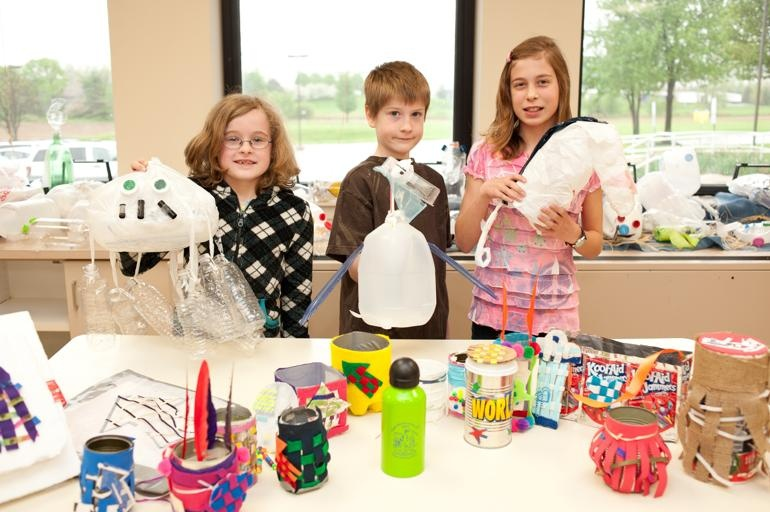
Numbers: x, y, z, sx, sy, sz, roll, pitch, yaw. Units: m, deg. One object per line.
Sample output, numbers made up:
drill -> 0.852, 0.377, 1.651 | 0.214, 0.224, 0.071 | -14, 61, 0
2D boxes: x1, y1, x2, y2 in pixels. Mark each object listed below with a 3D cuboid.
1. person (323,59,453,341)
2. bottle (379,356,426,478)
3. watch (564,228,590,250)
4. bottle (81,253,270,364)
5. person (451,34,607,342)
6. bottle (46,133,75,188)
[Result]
person -> 0.015, -0.183, 2.088 | 0.456, 1.045, 0.526 | 0, 13, 6
bottle -> 0.044, 0.376, 1.358 | 0.110, 0.278, 0.087 | -1, 13, -1
watch -> 0.657, -0.064, 1.980 | 0.087, 0.089, 0.061 | 6, 20, 9
bottle -> -0.765, 0.126, 1.887 | 0.868, 0.390, 0.238 | 4, 8, 25
person -> 0.529, -0.224, 2.044 | 0.464, 1.107, 0.422 | -7, 14, -25
bottle -> -1.780, -0.525, 3.129 | 0.186, 0.290, 0.121 | 10, 17, 39
